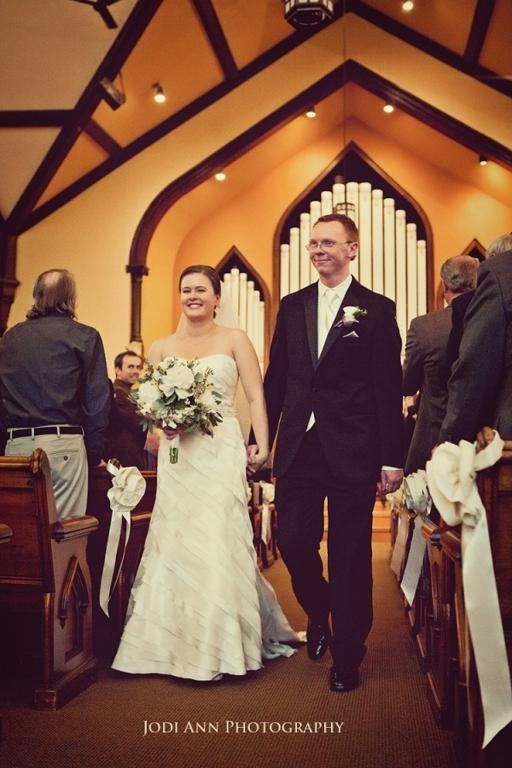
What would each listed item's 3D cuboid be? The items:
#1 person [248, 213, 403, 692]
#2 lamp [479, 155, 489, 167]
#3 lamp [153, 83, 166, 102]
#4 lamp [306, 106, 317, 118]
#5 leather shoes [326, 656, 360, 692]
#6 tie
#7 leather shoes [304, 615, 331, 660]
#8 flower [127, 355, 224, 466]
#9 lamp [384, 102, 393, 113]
[{"bbox_3d":[0.267,0.295,2.304,0.557,1.518,0.303,-2,-6,18],"label":"person"},{"bbox_3d":[2.322,-2.290,6.288,0.078,0.090,0.107,-4,-18,16],"label":"lamp"},{"bbox_3d":[-0.852,-2.570,5.468,0.088,0.115,0.105,10,27,34],"label":"lamp"},{"bbox_3d":[0.588,-2.854,6.496,0.103,0.106,0.120,1,-4,-10],"label":"lamp"},{"bbox_3d":[0.303,0.998,2.112,0.103,0.079,0.077,-1,-6,4],"label":"leather shoes"},{"bbox_3d":[0.268,-0.093,2.394,0.133,0.531,0.085,7,-11,14],"label":"tie"},{"bbox_3d":[0.232,0.949,2.310,0.062,0.213,0.080,4,10,33],"label":"leather shoes"},{"bbox_3d":[-0.307,0.093,2.435,0.369,0.434,0.299,0,-6,-6],"label":"flower"},{"bbox_3d":[1.404,-2.923,6.511,0.082,0.081,0.097,0,-6,1],"label":"lamp"}]
